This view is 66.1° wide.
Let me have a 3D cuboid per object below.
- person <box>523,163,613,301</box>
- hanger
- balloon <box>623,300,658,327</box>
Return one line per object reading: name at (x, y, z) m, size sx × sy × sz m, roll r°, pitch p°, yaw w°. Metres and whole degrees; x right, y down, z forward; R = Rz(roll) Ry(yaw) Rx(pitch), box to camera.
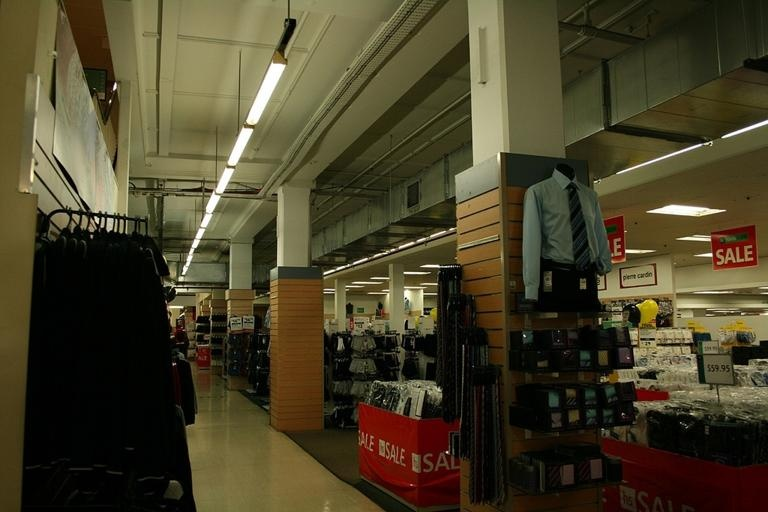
person at (1.659, -0.230, 5.485) m, size 0.951 × 1.302 × 0.318 m, roll 3°, pitch -7°, yaw -28°
hanger at (-1.899, -0.145, 4.082) m, size 0.802 × 0.383 × 0.586 m, roll 2°, pitch 12°, yaw -18°
balloon at (4.825, 1.043, 11.113) m, size 0.441 × 0.446 × 1.001 m, roll -4°, pitch -7°, yaw 33°
